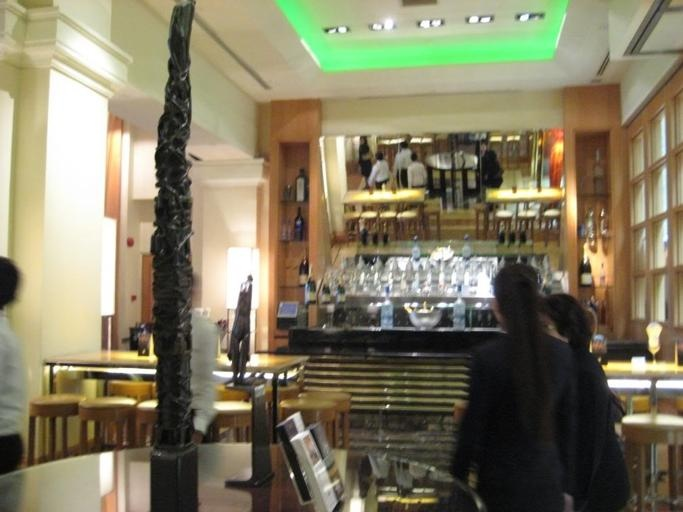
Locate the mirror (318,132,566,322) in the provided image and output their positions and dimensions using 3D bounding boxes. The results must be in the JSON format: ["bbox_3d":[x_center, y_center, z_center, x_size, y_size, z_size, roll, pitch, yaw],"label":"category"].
[{"bbox_3d":[1.157,-0.360,6.543,1.762,1.758,0.989,-1,-14,11],"label":"mirror"}]
